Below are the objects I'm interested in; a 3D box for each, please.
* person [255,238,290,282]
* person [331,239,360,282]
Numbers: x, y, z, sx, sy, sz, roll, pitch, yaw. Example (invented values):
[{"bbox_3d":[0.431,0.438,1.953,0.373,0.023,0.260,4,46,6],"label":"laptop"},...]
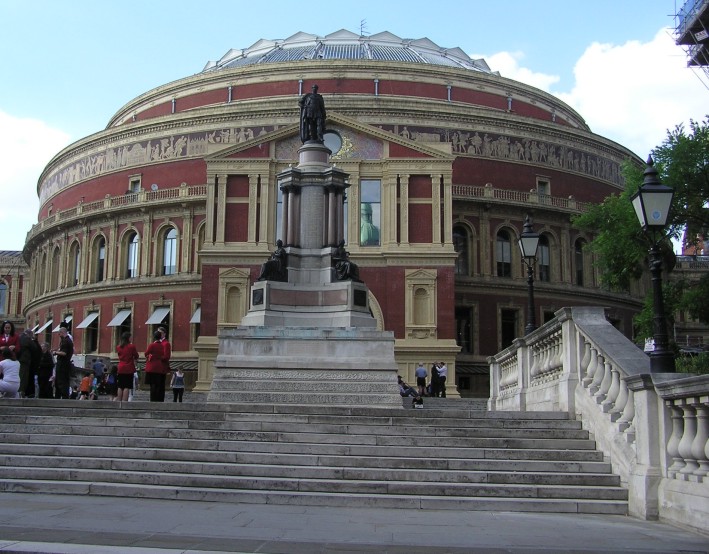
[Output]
[{"bbox_3d":[-2.246,-0.451,22.154,0.801,1.293,0.647,2,-12,-14],"label":"person"},{"bbox_3d":[-0.167,-0.463,22.429,0.806,1.369,0.880,-6,-12,23],"label":"person"}]
